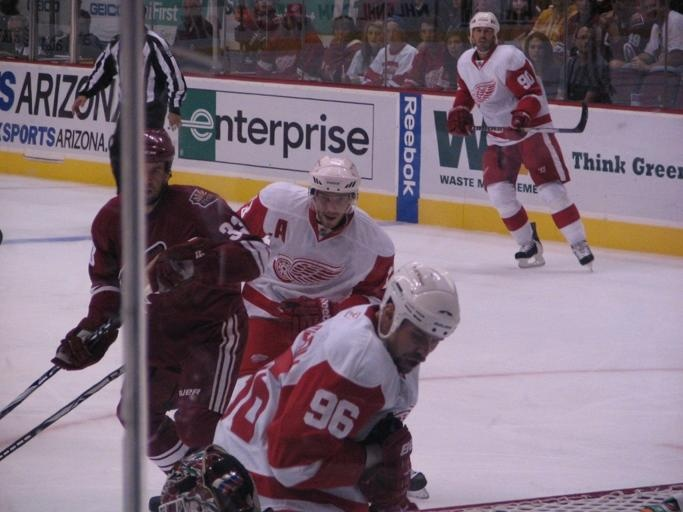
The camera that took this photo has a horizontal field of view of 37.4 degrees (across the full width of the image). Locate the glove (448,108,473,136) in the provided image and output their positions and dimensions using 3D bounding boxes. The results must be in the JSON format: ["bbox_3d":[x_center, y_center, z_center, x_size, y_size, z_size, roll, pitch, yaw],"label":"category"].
[{"bbox_3d":[0.852,-0.969,7.353,0.153,0.206,0.180,0,-16,2],"label":"glove"}]

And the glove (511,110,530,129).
[{"bbox_3d":[1.223,-0.938,6.936,0.095,0.120,0.124,5,-10,-18],"label":"glove"}]

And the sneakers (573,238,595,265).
[{"bbox_3d":[1.592,-0.031,6.705,0.076,0.090,0.230,-29,44,14],"label":"sneakers"}]

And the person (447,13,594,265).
[{"bbox_3d":[1.250,-0.912,7.058,0.638,1.515,1.034,-5,15,-24],"label":"person"}]

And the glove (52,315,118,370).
[{"bbox_3d":[-0.988,0.358,3.853,0.193,0.081,0.267,18,15,10],"label":"glove"}]

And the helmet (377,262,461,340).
[{"bbox_3d":[0.263,0.136,3.462,0.216,0.258,0.270,2,25,-39],"label":"helmet"}]

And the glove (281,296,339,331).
[{"bbox_3d":[-0.155,0.213,4.328,0.230,0.076,0.179,-22,24,-38],"label":"glove"}]

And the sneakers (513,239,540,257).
[{"bbox_3d":[1.236,-0.050,6.709,0.215,0.096,0.071,-19,5,-5],"label":"sneakers"}]

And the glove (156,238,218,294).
[{"bbox_3d":[-0.590,0.026,3.760,0.243,0.132,0.073,-32,-3,-21],"label":"glove"}]

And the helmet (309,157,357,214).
[{"bbox_3d":[-0.029,-0.302,4.208,0.197,0.226,0.238,7,-2,-4],"label":"helmet"}]

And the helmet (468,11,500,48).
[{"bbox_3d":[1.031,-1.646,7.181,0.179,0.213,0.228,11,27,32],"label":"helmet"}]
